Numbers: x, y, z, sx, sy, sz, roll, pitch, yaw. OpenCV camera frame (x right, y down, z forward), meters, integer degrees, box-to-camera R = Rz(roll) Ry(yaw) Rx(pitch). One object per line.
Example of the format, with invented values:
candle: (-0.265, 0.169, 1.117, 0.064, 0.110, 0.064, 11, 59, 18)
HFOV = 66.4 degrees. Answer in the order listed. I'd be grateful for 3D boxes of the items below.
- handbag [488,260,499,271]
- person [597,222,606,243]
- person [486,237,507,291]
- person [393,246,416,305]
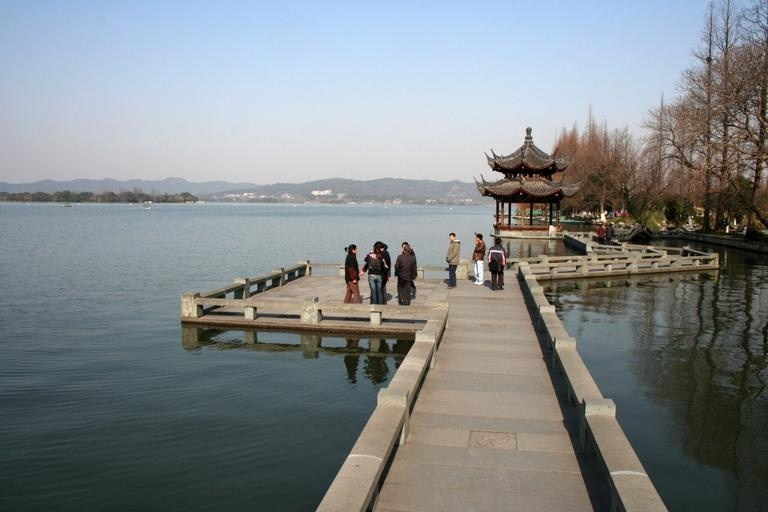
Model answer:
handbag: (4.036, 0.385, 21.640, 0.410, 0.360, 0.381, -4, 3, -41)
person: (15.077, -1.462, 40.690, 0.444, 1.129, 1.807, 0, 6, 20)
person: (4.162, 0.301, 21.775, 0.509, 2.015, 1.342, -1, 6, 11)
person: (0.713, 0.629, 19.562, 0.660, 2.069, 0.642, -2, 6, 5)
